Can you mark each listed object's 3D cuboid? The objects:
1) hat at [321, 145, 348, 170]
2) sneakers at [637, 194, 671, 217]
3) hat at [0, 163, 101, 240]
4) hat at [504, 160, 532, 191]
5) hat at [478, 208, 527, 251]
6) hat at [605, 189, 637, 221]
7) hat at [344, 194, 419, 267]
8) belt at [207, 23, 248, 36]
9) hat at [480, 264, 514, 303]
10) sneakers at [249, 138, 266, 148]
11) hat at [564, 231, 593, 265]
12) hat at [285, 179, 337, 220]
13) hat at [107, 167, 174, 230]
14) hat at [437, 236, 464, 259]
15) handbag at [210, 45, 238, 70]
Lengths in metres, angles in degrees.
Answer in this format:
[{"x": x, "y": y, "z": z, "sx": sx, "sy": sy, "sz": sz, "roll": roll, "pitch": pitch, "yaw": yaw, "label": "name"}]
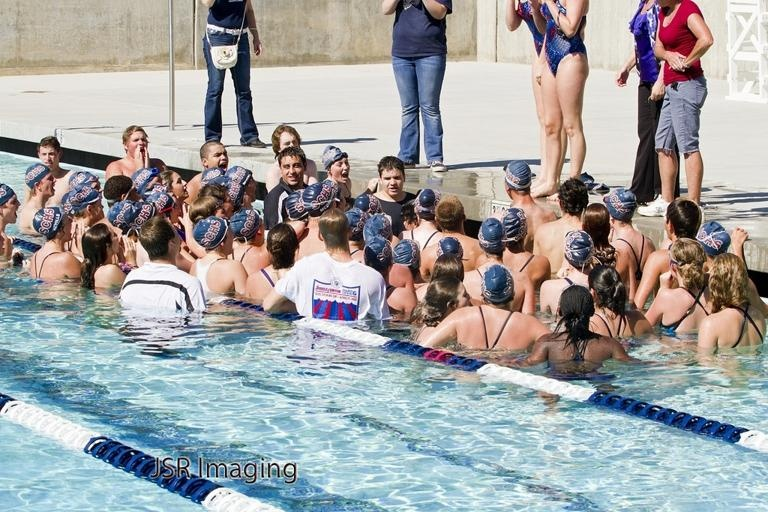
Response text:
[{"x": -0.535, "y": -1.092, "z": 13.470, "sx": 0.225, "sy": 0.210, "sz": 0.288, "roll": -15, "pitch": -7, "yaw": -10, "label": "hat"}, {"x": 2.699, "y": -0.502, "z": 12.652, "sx": 0.347, "sy": 0.174, "sz": 0.139, "roll": -3, "pitch": 10, "yaw": 27, "label": "sneakers"}, {"x": -3.563, "y": -0.561, "z": 13.411, "sx": 0.374, "sy": 0.613, "sz": 0.705, "roll": 19, "pitch": 48, "yaw": 12, "label": "hat"}, {"x": 1.317, "y": -0.812, "z": 12.515, "sx": 0.207, "sy": 0.177, "sz": 0.311, "roll": -1, "pitch": 34, "yaw": -2, "label": "hat"}, {"x": 1.067, "y": -0.247, "z": 11.322, "sx": 0.246, "sy": 0.354, "sz": 0.579, "roll": 2, "pitch": 7, "yaw": 29, "label": "hat"}, {"x": 2.230, "y": -0.484, "z": 11.914, "sx": 0.274, "sy": 0.297, "sz": 0.287, "roll": 0, "pitch": 6, "yaw": 6, "label": "hat"}, {"x": -0.072, "y": -0.334, "z": 11.942, "sx": 0.437, "sy": 0.377, "sz": 0.747, "roll": 6, "pitch": 49, "yaw": 18, "label": "hat"}, {"x": -2.036, "y": -2.943, "z": 16.451, "sx": 0.585, "sy": 0.153, "sz": 0.345, "roll": -4, "pitch": 7, "yaw": -27, "label": "belt"}, {"x": 0.928, "y": 0.207, "z": 10.442, "sx": 0.270, "sy": 0.138, "sz": 0.395, "roll": -2, "pitch": 38, "yaw": -2, "label": "hat"}, {"x": -1.647, "y": -1.481, "z": 16.518, "sx": 0.093, "sy": 0.089, "sz": 0.215, "roll": -5, "pitch": 7, "yaw": -42, "label": "sneakers"}, {"x": 1.692, "y": -0.079, "z": 11.053, "sx": 0.210, "sy": 0.310, "sz": 0.234, "roll": 1, "pitch": 5, "yaw": -5, "label": "hat"}, {"x": -0.705, "y": -0.513, "z": 11.922, "sx": 0.420, "sy": 0.139, "sz": 0.304, "roll": -27, "pitch": 50, "yaw": 14, "label": "hat"}, {"x": -2.581, "y": -0.632, "z": 13.139, "sx": 0.703, "sy": 0.323, "sz": 0.525, "roll": -11, "pitch": 18, "yaw": -26, "label": "hat"}, {"x": 0.594, "y": -0.081, "z": 11.328, "sx": 0.219, "sy": 0.192, "sz": 0.310, "roll": -1, "pitch": 6, "yaw": 2, "label": "hat"}, {"x": -2.059, "y": -2.557, "z": 16.225, "sx": 0.352, "sy": 0.315, "sz": 0.293, "roll": -2, "pitch": 6, "yaw": -11, "label": "handbag"}]
